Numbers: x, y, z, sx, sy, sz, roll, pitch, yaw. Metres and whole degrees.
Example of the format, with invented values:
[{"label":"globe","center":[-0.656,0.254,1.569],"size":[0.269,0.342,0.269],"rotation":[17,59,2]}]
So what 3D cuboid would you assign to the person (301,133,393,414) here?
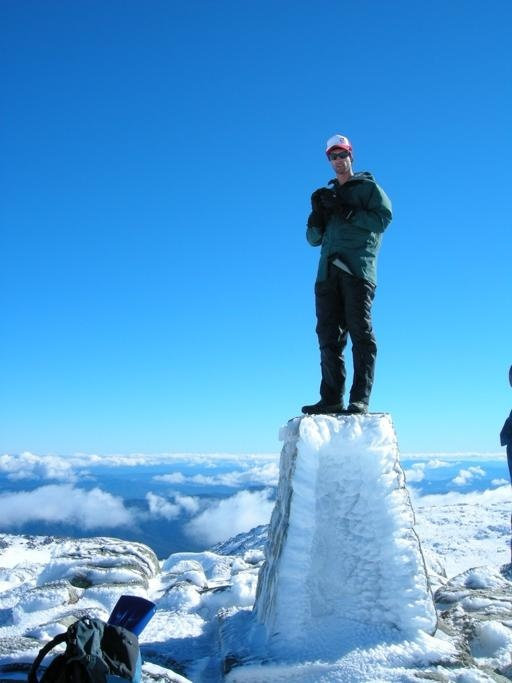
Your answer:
[{"label":"person","center":[0.920,-0.662,6.395],"size":[0.693,2.901,0.991],"rotation":[7,-14,-22]}]
